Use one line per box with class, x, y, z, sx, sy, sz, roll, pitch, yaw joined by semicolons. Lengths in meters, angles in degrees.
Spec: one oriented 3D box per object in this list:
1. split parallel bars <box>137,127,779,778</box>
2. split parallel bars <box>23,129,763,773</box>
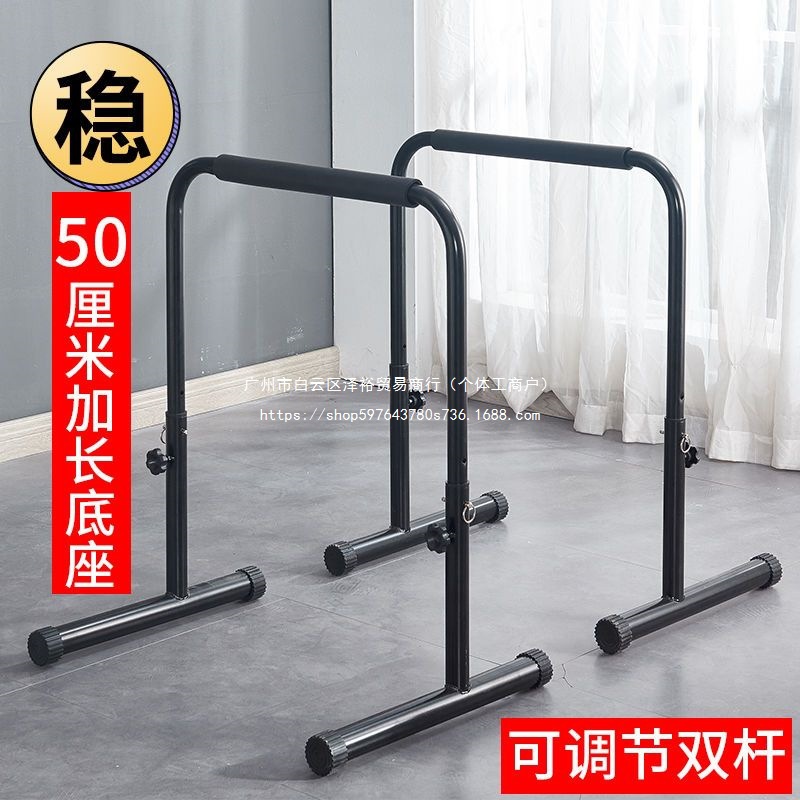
split parallel bars;0.144;-0.027;1.733;1.062;0.869;0.831;-10;15;-31
split parallel bars;0.158;-0.020;1.737;1.028;0.869;0.724;-11;15;-27
